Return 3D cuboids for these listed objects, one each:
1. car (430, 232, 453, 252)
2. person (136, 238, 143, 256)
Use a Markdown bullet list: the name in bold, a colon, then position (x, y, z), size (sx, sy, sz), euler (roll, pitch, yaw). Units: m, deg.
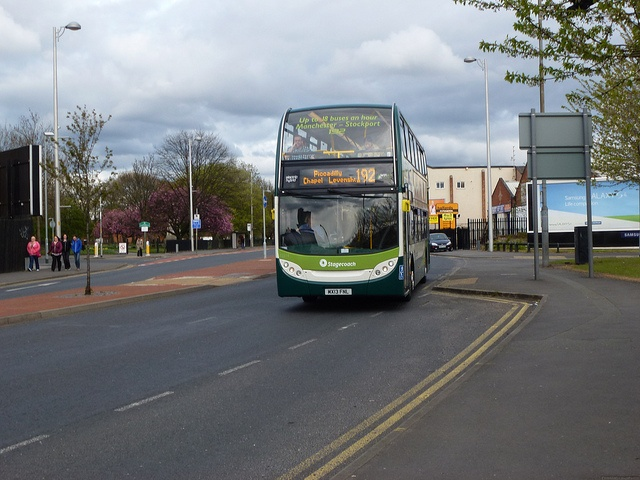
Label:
- **car**: position (9.818, 0.276, 48.341), size (1.571, 1.438, 2.255), euler (-4, 3, 8)
- **person**: position (-16.127, 0.750, 52.692), size (0.377, 1.379, 2.047), euler (-5, 2, -22)
